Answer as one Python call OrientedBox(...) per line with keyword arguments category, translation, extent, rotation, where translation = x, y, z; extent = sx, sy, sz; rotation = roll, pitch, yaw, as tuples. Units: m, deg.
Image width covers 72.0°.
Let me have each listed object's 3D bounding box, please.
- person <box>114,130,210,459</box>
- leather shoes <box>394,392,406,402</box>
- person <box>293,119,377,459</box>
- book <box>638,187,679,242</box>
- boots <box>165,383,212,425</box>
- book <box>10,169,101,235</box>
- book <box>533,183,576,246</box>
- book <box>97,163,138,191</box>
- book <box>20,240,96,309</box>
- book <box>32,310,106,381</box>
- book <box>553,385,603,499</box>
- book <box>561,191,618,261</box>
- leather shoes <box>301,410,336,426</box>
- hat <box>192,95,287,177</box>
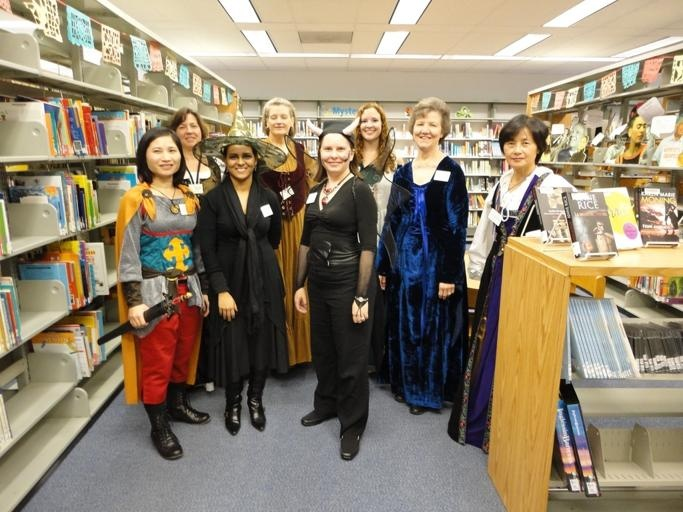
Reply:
OrientedBox(category="person", translation=(-1.132, 0.230, 3.017), extent=(0.382, 2.061, 0.536), rotation=(4, 15, 21))
OrientedBox(category="leather shoes", translation=(0.435, 1.071, 3.550), extent=(0.102, 0.064, 0.186), rotation=(1, -3, 1))
OrientedBox(category="person", translation=(-0.052, 0.204, 3.041), extent=(0.394, 2.075, 0.640), rotation=(-12, 18, -38))
OrientedBox(category="book", translation=(1.599, -0.209, 2.393), extent=(0.268, 0.377, 0.041), rotation=(0, -5, -5))
OrientedBox(category="boots", translation=(-1.097, 1.054, 3.348), extent=(0.367, 0.273, 0.127), rotation=(-1, 8, 15))
OrientedBox(category="book", translation=(-1.926, -0.367, 3.140), extent=(0.453, 0.432, 0.249), rotation=(6, 15, 23))
OrientedBox(category="book", translation=(1.087, -0.223, 2.431), extent=(0.264, 0.249, 0.065), rotation=(-1, -4, -11))
OrientedBox(category="book", translation=(-1.859, -0.666, 4.013), extent=(0.339, 0.242, 0.345), rotation=(2, 11, 2))
OrientedBox(category="book", translation=(-1.939, 0.120, 3.220), extent=(0.345, 0.439, 0.379), rotation=(-1, 14, 1))
OrientedBox(category="book", translation=(-1.858, 0.615, 3.244), extent=(0.381, 0.192, 0.481), rotation=(-2, 5, -7))
OrientedBox(category="book", translation=(1.155, 0.932, 2.338), extent=(0.105, 0.464, 0.333), rotation=(-2, -12, 8))
OrientedBox(category="book", translation=(1.144, -0.142, 2.238), extent=(0.236, 0.332, 0.085), rotation=(-2, -16, -13))
OrientedBox(category="leather shoes", translation=(-0.180, 1.147, 3.347), extent=(0.259, 0.112, 0.087), rotation=(3, -1, -20))
OrientedBox(category="hat", translation=(-0.678, -0.748, 3.146), extent=(0.452, 0.343, 0.478), rotation=(2, -16, -8))
